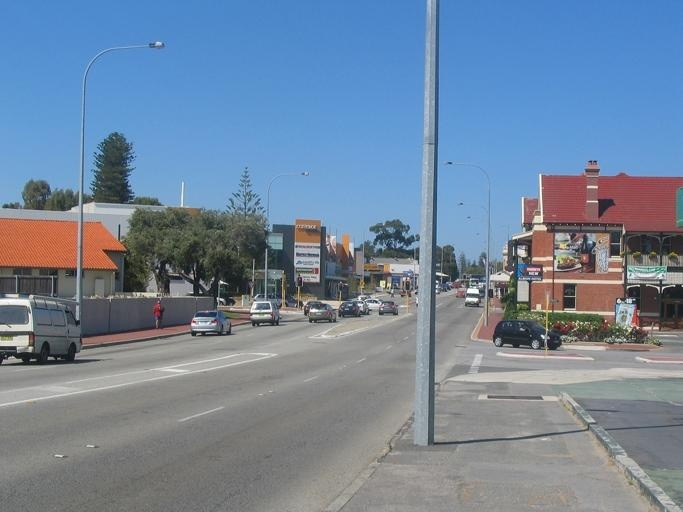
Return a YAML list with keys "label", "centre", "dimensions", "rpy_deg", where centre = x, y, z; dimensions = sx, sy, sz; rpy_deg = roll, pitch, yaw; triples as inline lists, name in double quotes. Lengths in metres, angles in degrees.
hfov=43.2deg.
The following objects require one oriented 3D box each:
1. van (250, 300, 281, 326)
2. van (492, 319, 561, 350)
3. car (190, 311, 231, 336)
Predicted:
- label: "van"
  centre: [-5.281, 3.961, 59.921]
  dimensions: [1.898, 1.759, 2.217]
  rpy_deg: [1, -3, -4]
- label: "van"
  centre: [9.154, 3.908, 43.037]
  dimensions: [1.095, 1.457, 3.837]
  rpy_deg: [3, -4, -35]
- label: "car"
  centre: [-7.470, 3.837, 49.122]
  dimensions: [1.804, 1.456, 2.239]
  rpy_deg: [0, -3, 8]
